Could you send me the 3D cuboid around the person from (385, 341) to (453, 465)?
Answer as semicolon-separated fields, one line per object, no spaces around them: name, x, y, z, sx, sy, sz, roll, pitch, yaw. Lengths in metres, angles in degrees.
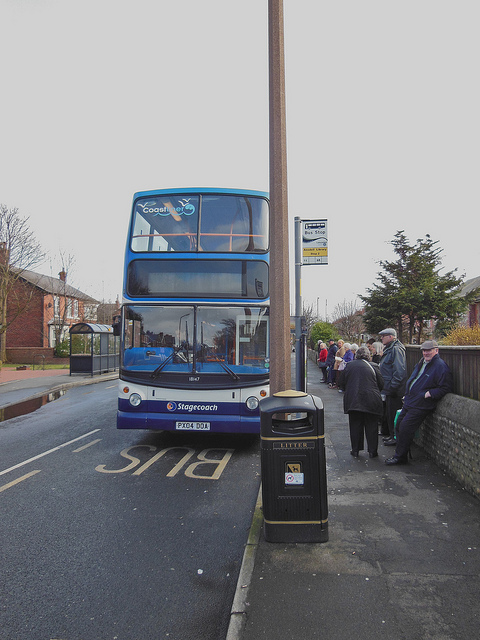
person;2.202;1.025;6.394;0.721;1.576;0.542;3;10;20

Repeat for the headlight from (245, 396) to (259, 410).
headlight;0.169;1.153;7.205;0.136;0.183;0.159;2;-3;-3

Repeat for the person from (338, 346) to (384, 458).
person;1.665;1.129;7.039;0.462;1.501;0.514;-3;-24;19

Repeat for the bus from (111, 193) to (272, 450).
bus;-0.625;-0.056;7.410;1.289;2.621;4.593;0;-4;6

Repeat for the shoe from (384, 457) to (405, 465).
shoe;1.935;1.765;6.488;0.246;0.132;0.096;-1;-5;12

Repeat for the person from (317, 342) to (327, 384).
person;3.113;1.750;19.432;0.311;1.658;1.720;1;11;9

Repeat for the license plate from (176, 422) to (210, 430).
license plate;-0.656;1.477;7.222;0.464;0.094;0.045;-1;10;0

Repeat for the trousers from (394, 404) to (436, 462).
trousers;2.217;1.427;6.530;0.226;0.944;0.448;18;7;-18

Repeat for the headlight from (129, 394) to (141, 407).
headlight;-1.474;1.122;7.427;0.179;0.265;0.131;-1;-1;7

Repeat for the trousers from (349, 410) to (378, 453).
trousers;1.660;1.275;6.947;0.346;0.991;0.280;-2;19;14

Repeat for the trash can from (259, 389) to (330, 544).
trash can;0.442;1.200;4.433;0.532;1.134;0.687;0;0;6

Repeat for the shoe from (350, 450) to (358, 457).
shoe;1.570;1.824;7.114;0.036;0.093;0.084;0;-14;-10
